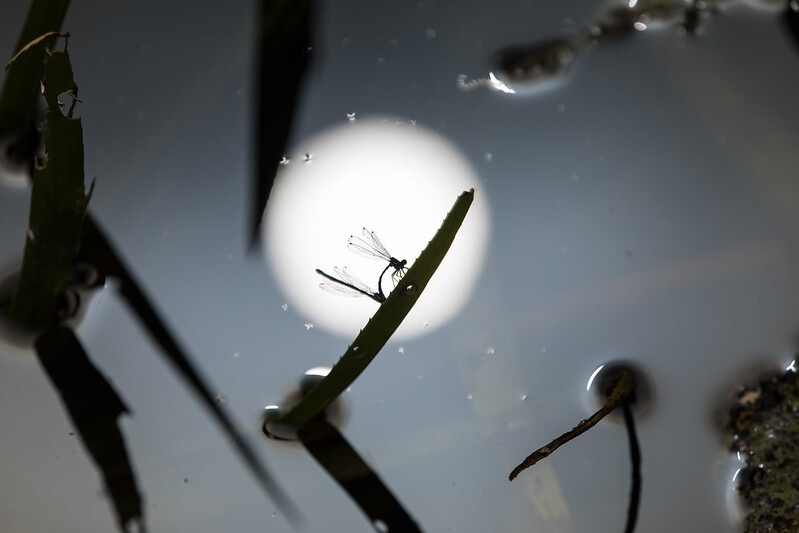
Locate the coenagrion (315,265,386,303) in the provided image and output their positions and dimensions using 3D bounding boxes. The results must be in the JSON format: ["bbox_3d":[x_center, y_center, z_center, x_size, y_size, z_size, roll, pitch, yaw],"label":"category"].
[{"bbox_3d":[-0.044,0.014,0.653,0.046,0.031,0.015,22,4,-4],"label":"coenagrion"}]

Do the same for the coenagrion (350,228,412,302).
[{"bbox_3d":[-0.010,-0.002,0.662,0.048,0.073,0.038,2,82,2],"label":"coenagrion"}]
